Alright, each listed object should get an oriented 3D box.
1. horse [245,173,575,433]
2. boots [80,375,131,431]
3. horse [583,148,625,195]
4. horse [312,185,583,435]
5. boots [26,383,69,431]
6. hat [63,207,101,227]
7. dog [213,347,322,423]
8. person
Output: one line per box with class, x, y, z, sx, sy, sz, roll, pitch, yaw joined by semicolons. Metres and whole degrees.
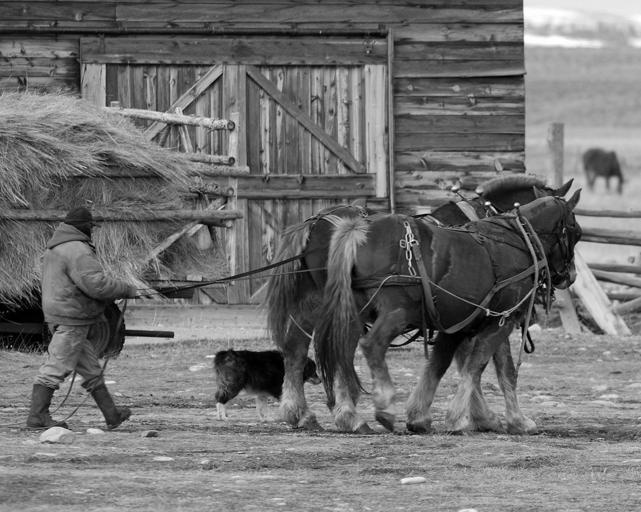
horse;1.403;0.577;17.826;1.414;3.092;4.876;-1;-4;43
boots;-2.335;1.622;16.656;0.311;0.550;0.459;-37;-8;24
horse;7.660;-2.315;42.063;1.133;1.066;2.783;3;5;9
horse;1.395;0.558;17.101;3.660;2.800;1.495;2;0;-34
boots;-2.821;1.574;15.956;0.424;0.460;0.374;1;6;-10
hat;-2.557;-0.406;16.338;0.439;0.243;0.289;4;4;-11
dog;-0.558;1.465;17.252;1.304;0.710;0.371;-1;0;17
person;-2.518;0.652;16.113;1.030;2.268;0.720;1;6;-10
